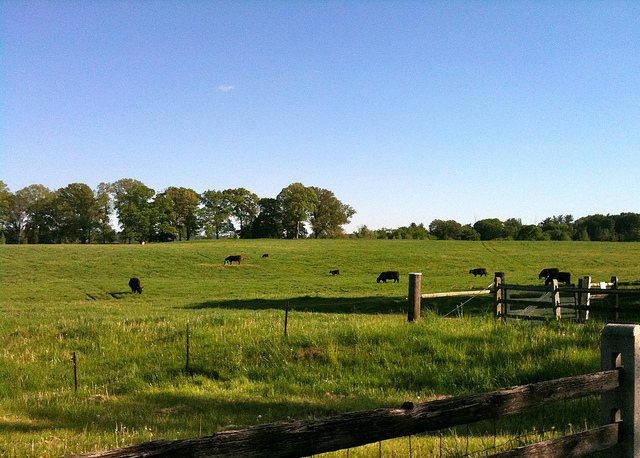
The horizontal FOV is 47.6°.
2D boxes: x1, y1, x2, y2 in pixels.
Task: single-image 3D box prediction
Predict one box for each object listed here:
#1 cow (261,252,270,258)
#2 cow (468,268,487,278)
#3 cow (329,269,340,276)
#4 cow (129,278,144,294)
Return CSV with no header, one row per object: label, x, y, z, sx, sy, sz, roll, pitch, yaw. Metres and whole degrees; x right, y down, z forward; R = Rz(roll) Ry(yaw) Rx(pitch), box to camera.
cow,-6.080,2.849,80.919,0.385,0.603,1.422,3,6,17
cow,14.996,4.095,69.217,1.794,0.955,0.671,0,-6,26
cow,1.265,3.982,67.306,0.828,0.482,0.370,1,-9,11
cow,-12.985,3.935,50.932,0.822,1.011,1.772,-6,15,-15
